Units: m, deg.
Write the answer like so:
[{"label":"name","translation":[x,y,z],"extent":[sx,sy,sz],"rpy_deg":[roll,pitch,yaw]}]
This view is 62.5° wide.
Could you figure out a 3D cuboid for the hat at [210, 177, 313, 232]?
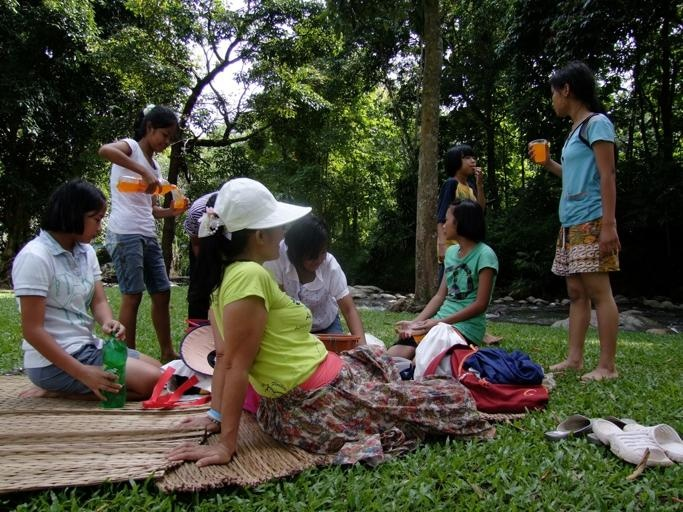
[{"label":"hat","translation":[-0.529,-0.318,3.523],"extent":[0.586,0.334,0.438],"rpy_deg":[3,20,-11]}]

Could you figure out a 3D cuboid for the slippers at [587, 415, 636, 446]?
[{"label":"slippers","translation":[1.733,1.116,3.631],"extent":[0.270,0.107,0.159],"rpy_deg":[-11,6,-21]}]

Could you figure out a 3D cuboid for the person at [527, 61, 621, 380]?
[{"label":"person","translation":[2.068,-0.338,4.892],"extent":[0.591,2.741,0.564],"rpy_deg":[-1,-3,27]}]

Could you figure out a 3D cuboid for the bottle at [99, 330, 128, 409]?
[{"label":"bottle","translation":[-1.635,0.821,4.062],"extent":[0.171,0.531,0.236],"rpy_deg":[1,-3,-24]}]

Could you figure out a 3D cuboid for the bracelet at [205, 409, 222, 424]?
[{"label":"bracelet","translation":[-0.821,1.031,3.631],"extent":[0.098,0.069,0.079],"rpy_deg":[34,-4,29]}]

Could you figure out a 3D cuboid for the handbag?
[{"label":"handbag","translation":[-1.229,0.997,4.196],"extent":[0.267,0.193,0.378],"rpy_deg":[9,16,34]}]

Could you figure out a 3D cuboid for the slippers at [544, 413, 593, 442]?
[{"label":"slippers","translation":[1.487,1.131,3.709],"extent":[0.309,0.143,0.175],"rpy_deg":[0,-4,9]}]

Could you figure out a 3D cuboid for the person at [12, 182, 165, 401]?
[{"label":"person","translation":[-1.915,0.257,4.161],"extent":[0.890,1.613,0.660],"rpy_deg":[2,-3,-29]}]
